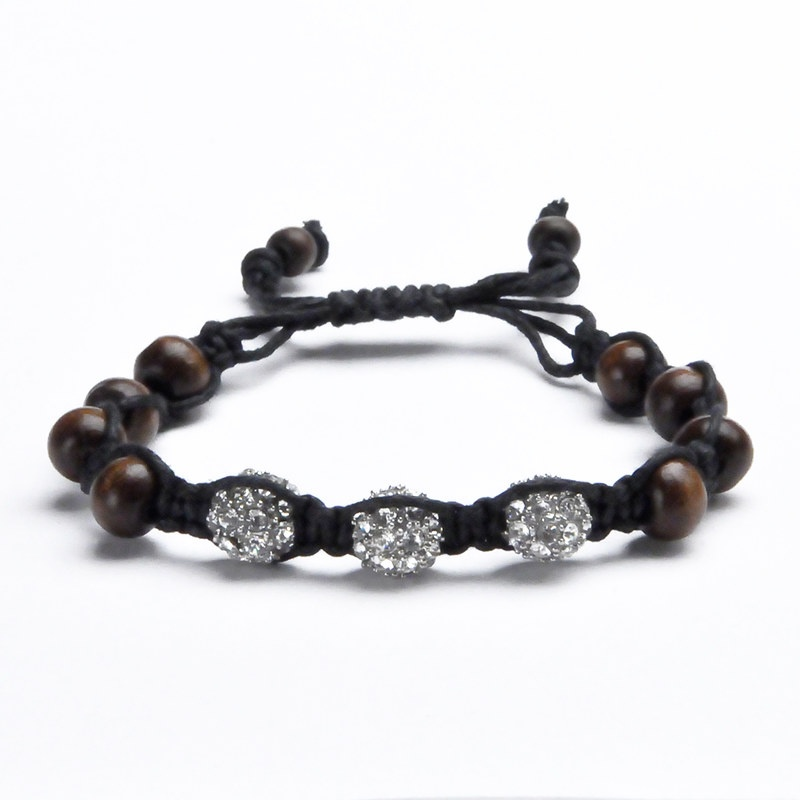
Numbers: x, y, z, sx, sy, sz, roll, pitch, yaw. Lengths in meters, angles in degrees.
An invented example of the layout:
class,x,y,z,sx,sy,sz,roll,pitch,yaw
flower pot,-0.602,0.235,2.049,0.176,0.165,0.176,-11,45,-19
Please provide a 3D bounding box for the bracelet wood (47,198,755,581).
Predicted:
class,x,y,z,sx,sy,sz,roll,pitch,yaw
bracelet wood,0.013,-0.117,2.263,1.183,1.376,0.377,0,-49,1
